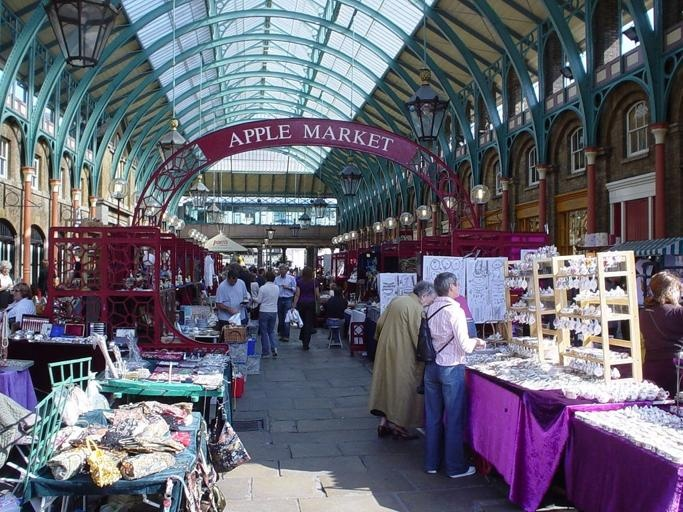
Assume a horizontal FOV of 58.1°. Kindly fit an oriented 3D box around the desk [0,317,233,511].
[{"bbox_3d":[-2.115,1.364,5.633,1.071,0.567,2.036,4,1,-6],"label":"desk"}]

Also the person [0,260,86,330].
[{"bbox_3d":[-4.932,0.631,9.647,0.552,1.204,1.030,1,-5,-5],"label":"person"}]

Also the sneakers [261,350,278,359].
[{"bbox_3d":[-1.608,2.242,13.846,0.365,0.210,0.150,4,-7,-12],"label":"sneakers"}]

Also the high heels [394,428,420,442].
[{"bbox_3d":[0.910,2.375,8.208,0.397,0.226,0.155,-3,0,-11],"label":"high heels"}]

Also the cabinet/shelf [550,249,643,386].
[{"bbox_3d":[2.695,0.698,6.540,0.418,1.466,1.135,1,-5,-13],"label":"cabinet/shelf"}]

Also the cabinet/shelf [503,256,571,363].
[{"bbox_3d":[2.380,0.662,7.454,0.300,1.135,1.041,1,-5,-8],"label":"cabinet/shelf"}]

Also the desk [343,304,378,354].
[{"bbox_3d":[0.367,1.851,15.683,0.681,1.066,1.427,-1,-11,6],"label":"desk"}]

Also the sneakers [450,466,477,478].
[{"bbox_3d":[1.381,2.445,6.957,0.301,0.157,0.116,1,-7,-33],"label":"sneakers"}]

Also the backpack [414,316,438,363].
[{"bbox_3d":[0.969,0.933,7.074,0.228,0.607,0.201,8,20,26],"label":"backpack"}]

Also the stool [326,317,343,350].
[{"bbox_3d":[-0.148,2.010,16.009,0.560,0.732,0.580,0,-9,-6],"label":"stool"}]
